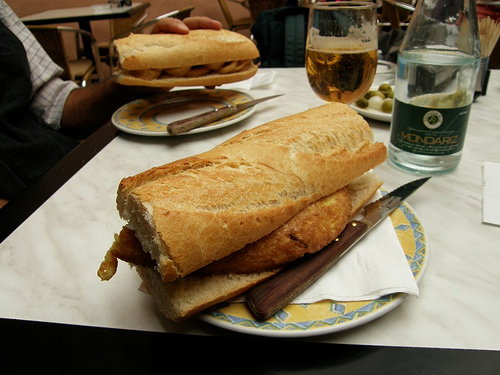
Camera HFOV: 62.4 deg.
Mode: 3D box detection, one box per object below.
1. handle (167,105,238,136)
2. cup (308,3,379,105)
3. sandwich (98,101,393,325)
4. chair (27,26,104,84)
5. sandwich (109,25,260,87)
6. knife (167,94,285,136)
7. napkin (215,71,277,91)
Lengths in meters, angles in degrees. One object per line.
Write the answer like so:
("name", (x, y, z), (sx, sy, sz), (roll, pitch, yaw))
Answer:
("handle", (-0.125, -0.180, 1.115), (0.039, 0.048, 0.292), (37, 40, 28))
("cup", (0.238, -0.341, 1.063), (0.176, 0.245, 0.131), (3, 43, 7))
("sandwich", (0.022, 0.079, 0.742), (0.461, 0.164, 0.292), (-26, 40, -22))
("chair", (-1.428, -1.019, 3.402), (0.418, 0.594, 0.434), (14, 32, 32))
("sandwich", (-0.200, -0.414, 1.298), (0.363, 0.148, 0.233), (-3, 26, -19))
("knife", (-0.025, -0.243, 1.226), (0.067, 0.056, 0.509), (24, 35, 36))
("napkin", (-0.016, -0.362, 1.404), (0.082, 0.025, 0.081), (-31, 15, -28))
